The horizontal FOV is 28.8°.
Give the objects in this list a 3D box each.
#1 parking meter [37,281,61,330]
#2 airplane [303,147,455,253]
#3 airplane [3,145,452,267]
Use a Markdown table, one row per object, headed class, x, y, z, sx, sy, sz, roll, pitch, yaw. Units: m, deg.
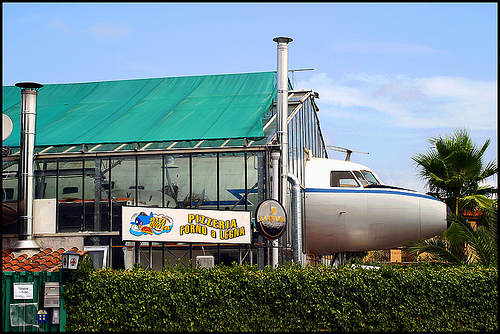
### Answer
| class | x | y | z | sx | sy | sz | roll | pitch | yaw |
| --- | --- | --- | --- | --- | --- | --- | --- | --- | --- |
| parking meter | -7.051 | 4.922 | 34.278 | 0.832 | 1.629 | 0.285 | -5 | -8 | 26 |
| airplane | 4.496 | 1.197 | 40.690 | 9.287 | 3.791 | 2.870 | 6 | 15 | 44 |
| airplane | 1.956 | 1.553 | 41.529 | 10.855 | 3.829 | 9.035 | 1 | 2 | 7 |
